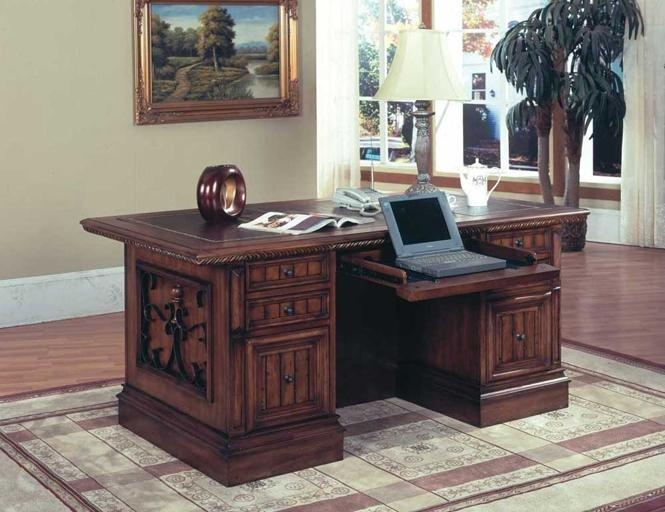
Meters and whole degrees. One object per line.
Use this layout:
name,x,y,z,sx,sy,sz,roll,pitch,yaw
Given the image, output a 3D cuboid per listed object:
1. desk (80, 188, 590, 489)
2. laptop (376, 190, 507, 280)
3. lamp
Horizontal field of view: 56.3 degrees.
desk,-0.101,0.358,3.149,2.200,0.816,1.586,-5,8,-35
laptop,0.448,-0.114,2.910,0.505,0.270,0.518,-10,17,-34
lamp,0.503,-0.822,3.586,0.501,0.982,0.557,0,12,9
